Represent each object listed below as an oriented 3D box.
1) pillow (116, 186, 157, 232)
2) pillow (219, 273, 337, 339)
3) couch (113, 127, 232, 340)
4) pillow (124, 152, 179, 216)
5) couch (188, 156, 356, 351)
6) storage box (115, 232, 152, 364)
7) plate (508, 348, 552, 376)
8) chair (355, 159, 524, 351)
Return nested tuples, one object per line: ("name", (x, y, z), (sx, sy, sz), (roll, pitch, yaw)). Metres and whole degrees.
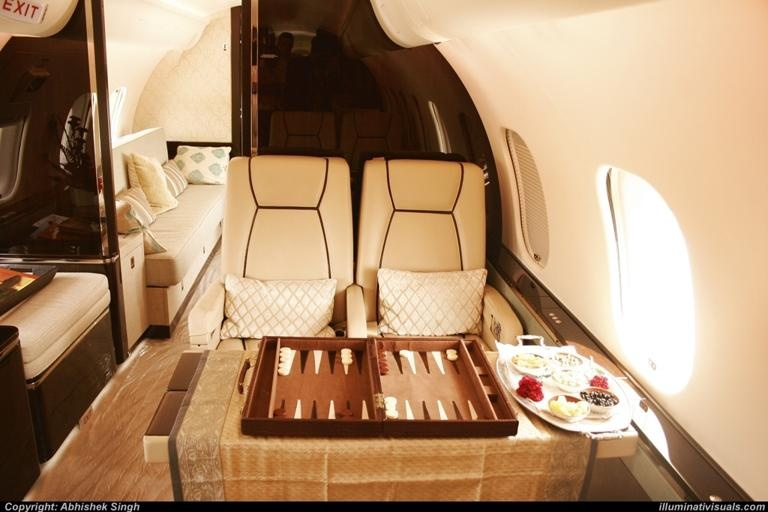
("pillow", (-2.007, -0.369, 4.004), (0.186, 0.162, 0.487), (-6, 26, -17))
("pillow", (-0.615, 0.346, 2.945), (0.657, 0.423, 0.200), (5, -26, -13))
("couch", (-1.802, -0.170, 4.179), (0.624, 0.810, 2.004), (-2, 32, -11))
("pillow", (-2.308, -0.696, 4.843), (0.153, 0.516, 0.528), (-6, 10, 20))
("couch", (-0.568, -0.108, 3.217), (0.963, 1.385, 1.114), (1, 14, -3))
("storage box", (-1.774, 0.292, 3.497), (0.251, 0.828, 0.796), (-2, -9, -18))
("plate", (0.647, 0.474, 2.188), (0.103, 0.035, 0.105), (8, 21, 21))
("chair", (0.280, -0.102, 3.339), (0.969, 1.401, 1.094), (0, 15, -2))
